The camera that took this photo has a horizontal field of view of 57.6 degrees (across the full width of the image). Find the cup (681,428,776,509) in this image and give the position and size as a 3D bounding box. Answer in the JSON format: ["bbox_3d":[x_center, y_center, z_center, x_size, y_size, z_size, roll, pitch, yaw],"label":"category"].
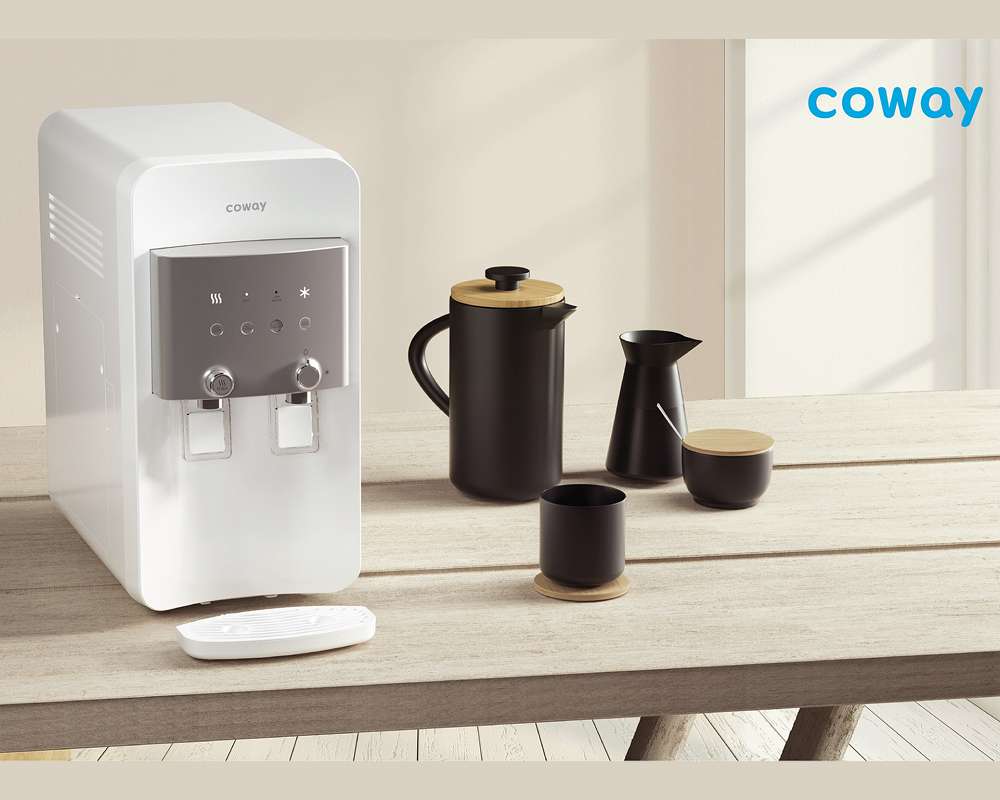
[{"bbox_3d":[0.225,0.067,0.912,0.092,0.050,0.085,1,8,0],"label":"cup"}]

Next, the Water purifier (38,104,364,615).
[{"bbox_3d":[-0.273,-0.064,0.811,0.188,0.442,0.338,-6,10,-35],"label":"Water purifier"}]
